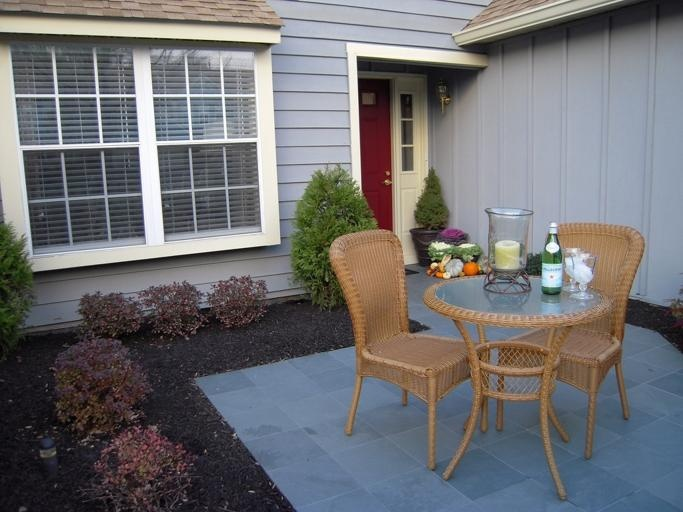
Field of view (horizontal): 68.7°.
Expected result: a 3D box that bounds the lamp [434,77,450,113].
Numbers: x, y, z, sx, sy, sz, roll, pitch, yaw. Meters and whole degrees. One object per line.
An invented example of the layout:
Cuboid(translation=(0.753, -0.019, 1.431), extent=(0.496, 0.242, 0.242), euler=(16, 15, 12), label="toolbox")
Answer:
Cuboid(translation=(1.518, -2.429, 7.504), extent=(0.180, 0.484, 0.262), euler=(6, 18, 44), label="lamp")

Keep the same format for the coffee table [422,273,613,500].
Cuboid(translation=(0.966, 0.730, 3.299), extent=(1.309, 1.020, 1.201), euler=(10, 20, 33), label="coffee table")

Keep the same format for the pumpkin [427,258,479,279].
Cuboid(translation=(1.533, 0.185, 6.945), extent=(0.521, 0.191, 0.394), euler=(-1, 4, 36), label="pumpkin")

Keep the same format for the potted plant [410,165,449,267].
Cuboid(translation=(1.435, -0.585, 7.766), extent=(0.699, 1.380, 0.645), euler=(3, 4, 20), label="potted plant")
